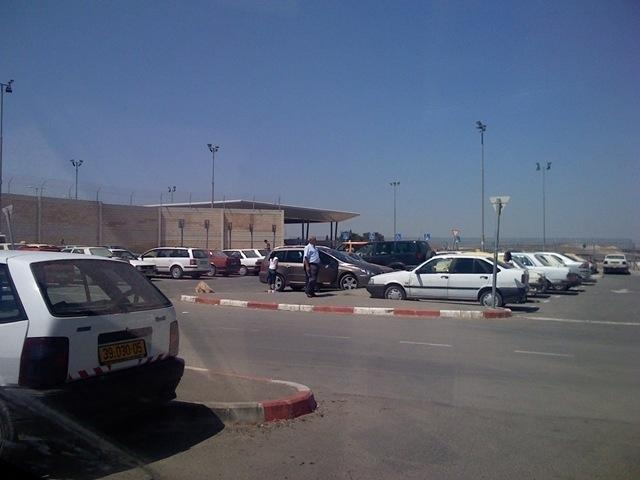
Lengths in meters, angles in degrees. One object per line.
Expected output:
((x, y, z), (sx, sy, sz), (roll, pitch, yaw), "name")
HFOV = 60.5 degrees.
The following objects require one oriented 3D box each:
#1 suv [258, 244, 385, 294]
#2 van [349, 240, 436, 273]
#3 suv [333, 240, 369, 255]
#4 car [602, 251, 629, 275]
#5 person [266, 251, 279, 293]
((0.142, 1.137, 20.365), (3.431, 1.274, 2.037), (-3, -3, 15), "suv")
((3.972, 0.652, 28.559), (3.066, 1.506, 1.713), (5, 3, 17), "van")
((2.300, 0.579, 41.860), (2.093, 1.128, 1.356), (8, 4, 10), "suv")
((23.669, 1.863, 44.114), (1.442, 1.069, 3.291), (0, 3, 23), "car")
((-1.756, 1.163, 19.994), (0.358, 1.397, 1.128), (1, 2, -4), "person")
